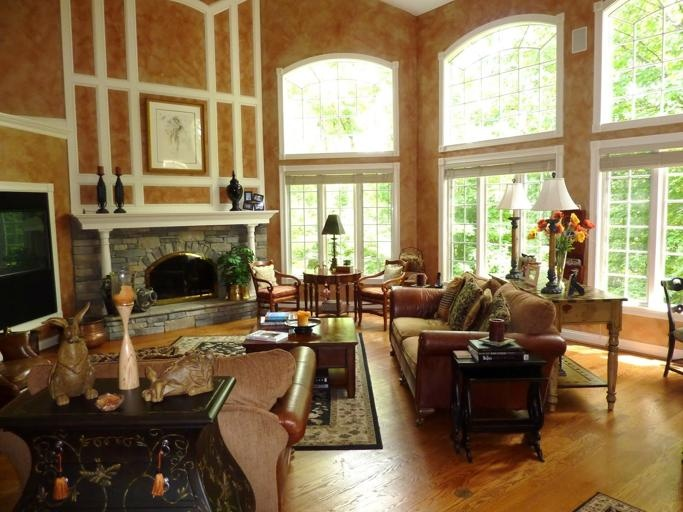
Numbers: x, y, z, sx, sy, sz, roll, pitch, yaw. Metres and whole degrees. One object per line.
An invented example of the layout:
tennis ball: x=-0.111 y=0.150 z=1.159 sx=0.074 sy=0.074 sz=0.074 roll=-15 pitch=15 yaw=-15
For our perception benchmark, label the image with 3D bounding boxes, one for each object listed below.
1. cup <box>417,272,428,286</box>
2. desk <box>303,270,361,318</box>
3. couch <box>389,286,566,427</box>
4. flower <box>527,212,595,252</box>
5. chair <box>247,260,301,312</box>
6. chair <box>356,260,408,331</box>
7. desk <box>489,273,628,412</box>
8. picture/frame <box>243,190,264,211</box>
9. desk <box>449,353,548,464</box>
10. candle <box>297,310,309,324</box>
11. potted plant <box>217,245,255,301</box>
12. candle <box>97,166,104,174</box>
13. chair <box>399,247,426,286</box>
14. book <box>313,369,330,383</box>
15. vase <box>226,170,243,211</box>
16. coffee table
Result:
cup: x=1.042 y=0.295 z=6.527 sx=0.190 sy=0.156 sz=0.134 roll=1 pitch=1 yaw=0
desk: x=-0.187 y=0.551 z=7.627 sx=0.807 sy=0.519 sz=0.747 roll=-1 pitch=2 yaw=-13
couch: x=1.167 y=0.766 z=5.169 sx=1.220 sy=0.940 sz=2.154 roll=-2 pitch=7 yaw=-4
flower: x=2.199 y=-0.195 z=5.031 sx=0.463 sy=0.342 sz=0.426 roll=31 pitch=-36 yaw=-22
chair: x=-0.995 y=0.507 z=7.616 sx=0.785 sy=0.746 sz=0.731 roll=0 pitch=10 yaw=-3
chair: x=0.591 y=0.512 z=7.442 sx=0.826 sy=0.845 sz=0.783 roll=-1 pitch=10 yaw=19
desk: x=1.791 y=0.858 z=4.801 sx=1.525 sy=0.773 sz=0.513 roll=-1 pitch=-27 yaw=20
picture/frame: x=-1.389 y=-0.873 z=7.908 sx=0.387 sy=0.312 sz=0.122 roll=-1 pitch=1 yaw=-41
desk: x=1.228 y=1.160 z=4.126 sx=0.735 sy=0.670 sz=0.876 roll=-1 pitch=-4 yaw=1
candle: x=-0.384 y=0.614 z=5.124 sx=0.145 sy=0.124 sz=0.109 roll=4 pitch=-5 yaw=-20
potted plant: x=-1.507 y=0.211 z=7.856 sx=0.677 sy=0.574 sz=0.560 roll=4 pitch=4 yaw=8
candle: x=-3.216 y=-1.151 z=6.743 sx=0.081 sy=0.119 sz=0.251 roll=-9 pitch=15 yaw=-24
chair: x=1.242 y=0.138 z=8.247 sx=0.398 sy=0.616 sz=0.405 roll=4 pitch=9 yaw=39
book: x=-0.190 y=1.188 z=5.055 sx=0.213 sy=0.060 sz=0.280 roll=0 pitch=8 yaw=2
vase: x=-1.628 y=-1.010 z=7.710 sx=0.255 sy=0.602 sz=0.396 roll=-5 pitch=15 yaw=-9
coffee table: x=-0.338 y=0.936 z=5.029 sx=0.911 sy=0.481 sz=0.830 roll=0 pitch=7 yaw=6
